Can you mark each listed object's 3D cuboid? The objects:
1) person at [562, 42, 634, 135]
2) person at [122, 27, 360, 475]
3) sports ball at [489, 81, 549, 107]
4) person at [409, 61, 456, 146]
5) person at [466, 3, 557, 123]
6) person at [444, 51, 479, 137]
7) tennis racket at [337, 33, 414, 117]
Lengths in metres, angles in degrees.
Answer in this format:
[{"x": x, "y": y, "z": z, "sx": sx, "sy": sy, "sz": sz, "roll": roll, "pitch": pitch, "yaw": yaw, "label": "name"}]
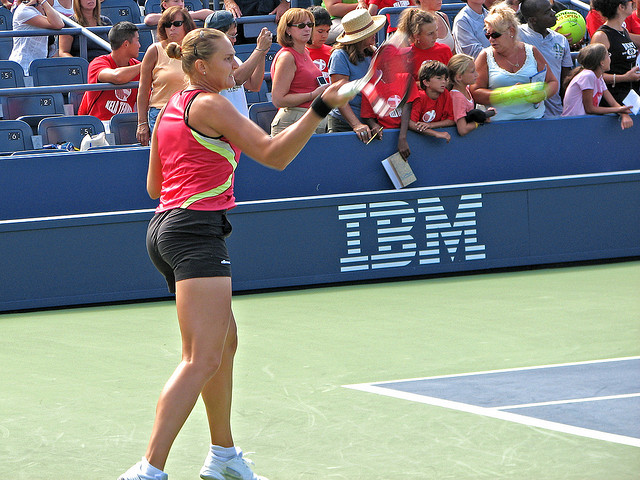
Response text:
[{"x": 2.928, "y": -1.592, "z": 8.061, "sx": 0.701, "sy": 0.929, "sz": 0.402, "roll": 0, "pitch": 11, "yaw": 13, "label": "person"}, {"x": -0.611, "y": 0.062, "z": 3.981, "sx": 0.963, "sy": 2.229, "sz": 1.259, "roll": -5, "pitch": 11, "yaw": -16, "label": "person"}, {"x": 2.031, "y": -1.472, "z": 7.760, "sx": 0.457, "sy": 0.154, "sz": 0.264, "roll": -5, "pitch": -16, "yaw": -13, "label": "sports ball"}, {"x": 1.123, "y": -1.363, "z": 7.546, "sx": 0.505, "sy": 0.816, "sz": 0.488, "roll": -7, "pitch": 19, "yaw": -19, "label": "person"}, {"x": 1.956, "y": -1.792, "z": 7.821, "sx": 0.870, "sy": 1.089, "sz": 0.681, "roll": -19, "pitch": 37, "yaw": -10, "label": "person"}, {"x": 1.397, "y": -1.434, "z": 7.594, "sx": 0.320, "sy": 0.767, "sz": 0.475, "roll": -8, "pitch": 41, "yaw": 14, "label": "person"}, {"x": 0.219, "y": -0.758, "z": 3.613, "sx": 0.235, "sy": 0.278, "sz": 0.466, "roll": -2, "pitch": 16, "yaw": 39, "label": "tennis racket"}]
